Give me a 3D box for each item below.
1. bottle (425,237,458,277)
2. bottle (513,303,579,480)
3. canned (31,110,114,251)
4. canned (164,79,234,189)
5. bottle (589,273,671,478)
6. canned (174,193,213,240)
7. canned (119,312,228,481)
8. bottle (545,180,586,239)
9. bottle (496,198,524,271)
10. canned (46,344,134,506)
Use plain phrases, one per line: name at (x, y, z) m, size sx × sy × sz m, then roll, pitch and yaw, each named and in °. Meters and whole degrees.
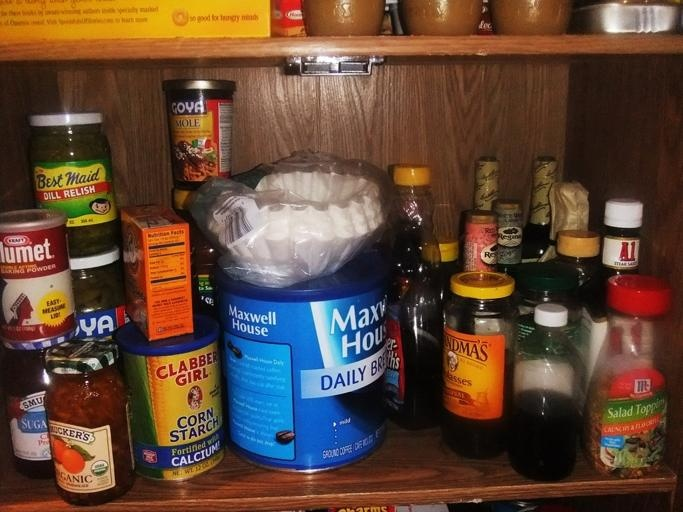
bottle at (0.190, 0.000, 1.128) m, size 0.071 × 0.060 × 0.068 m, roll 4°, pitch 13°, yaw 18°
bottle at (0.327, 0.236, 0.974) m, size 0.101 × 0.229 × 0.112 m, roll 0°, pitch 19°, yaw 15°
canned at (-0.471, -0.123, 1.037) m, size 0.152 × 0.228 × 0.143 m, roll -3°, pitch 15°, yaw -16°
canned at (-0.258, -0.230, 1.114) m, size 0.149 × 0.193 × 0.142 m, roll 6°, pitch 18°, yaw 16°
bottle at (0.459, 0.194, 0.965) m, size 0.114 × 0.302 × 0.135 m, roll 3°, pitch 20°, yaw 23°
canned at (-0.244, -0.066, 0.999) m, size 0.048 × 0.075 × 0.047 m, roll -22°, pitch 47°, yaw -26°
canned at (-0.262, 0.242, 0.968) m, size 0.162 × 0.227 × 0.083 m, roll -9°, pitch 19°, yaw -12°
bottle at (0.445, -0.082, 1.171) m, size 0.070 × 0.106 × 0.078 m, roll -6°, pitch 12°, yaw -16°
bottle at (0.331, -0.032, 1.203) m, size 0.064 × 0.143 × 0.061 m, roll -2°, pitch 11°, yaw 0°
canned at (-0.382, 0.255, 0.918) m, size 0.087 × 0.242 × 0.109 m, roll 6°, pitch 21°, yaw 30°
